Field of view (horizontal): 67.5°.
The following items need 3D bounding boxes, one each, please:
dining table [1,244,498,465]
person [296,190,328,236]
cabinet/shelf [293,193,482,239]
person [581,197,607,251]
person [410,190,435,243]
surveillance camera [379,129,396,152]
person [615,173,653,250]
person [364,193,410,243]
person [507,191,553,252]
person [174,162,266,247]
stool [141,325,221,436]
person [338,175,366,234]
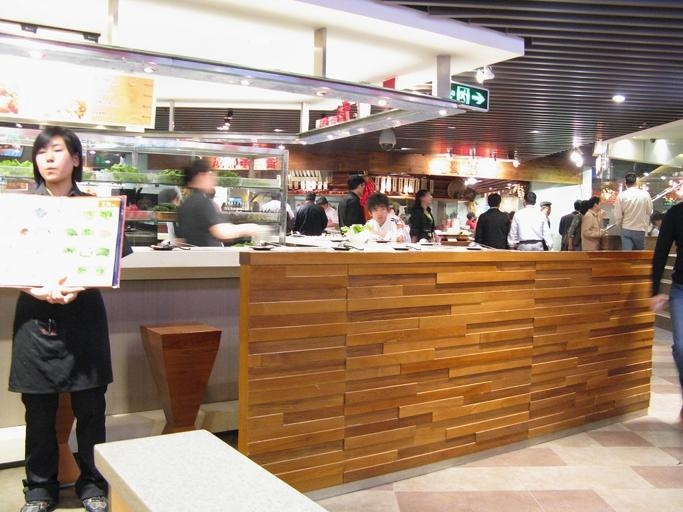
[{"bbox_3d":[-0.474,0.623,3.082,2.182,0.897,0.634,0,-1,-28],"label":"dining table"},{"bbox_3d":[-0.527,-0.632,7.823,0.636,0.626,0.378,0,21,-17],"label":"person"},{"bbox_3d":[0.724,-0.713,8.761,2.488,1.002,0.640,1,-4,-19],"label":"cabinet/shelf"},{"bbox_3d":[4.129,-0.548,8.458,0.355,0.881,0.581,6,9,23],"label":"person"},{"bbox_3d":[1.097,-0.566,6.938,0.329,0.699,0.612,4,7,7],"label":"person"},{"bbox_3d":[0.780,-2.031,8.814,0.223,0.361,0.504,4,7,9],"label":"surveillance camera"},{"bbox_3d":[4.781,-0.726,8.472,0.530,1.267,0.675,7,9,24],"label":"person"},{"bbox_3d":[0.476,-0.405,5.368,0.457,0.531,1.270,3,6,6],"label":"person"},{"bbox_3d":[2.516,-0.475,6.929,0.554,0.774,0.432,8,9,34],"label":"person"},{"bbox_3d":[-1.015,-0.457,4.302,0.707,0.730,0.456,1,8,-14],"label":"person"},{"bbox_3d":[-1.047,0.787,3.332,0.372,0.688,0.395,-2,9,-34],"label":"stool"},{"bbox_3d":[0.131,-0.704,6.572,0.317,0.697,0.573,3,7,-1],"label":"person"}]
